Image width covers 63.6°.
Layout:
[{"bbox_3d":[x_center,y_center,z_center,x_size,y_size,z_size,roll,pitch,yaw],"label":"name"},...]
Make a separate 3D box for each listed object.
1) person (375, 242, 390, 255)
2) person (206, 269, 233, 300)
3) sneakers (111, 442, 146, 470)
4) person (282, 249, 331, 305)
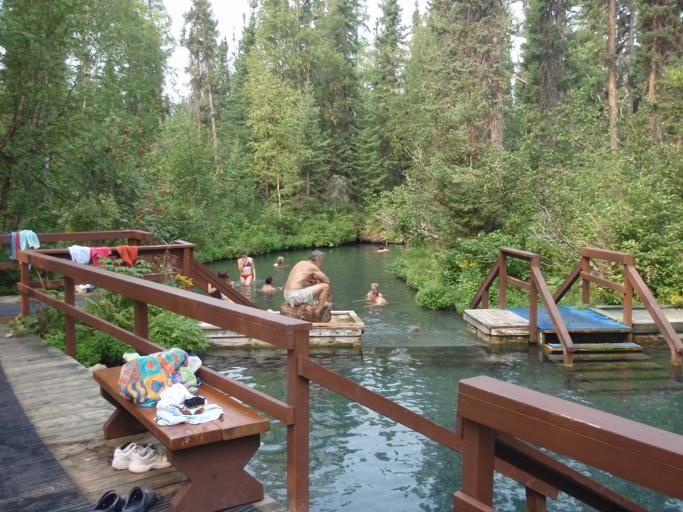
[{"bbox_3d":[2.934,-0.483,37.436,0.507,1.131,2.158,-17,2,-3],"label":"person"},{"bbox_3d":[-2.925,0.752,13.423,0.423,0.715,1.710,-6,11,-4],"label":"person"},{"bbox_3d":[-1.835,1.715,4.812,0.140,0.156,0.354,2,2,9],"label":"sneakers"},{"bbox_3d":[-0.730,0.546,11.957,0.953,1.348,0.967,-3,8,-26],"label":"person"}]
